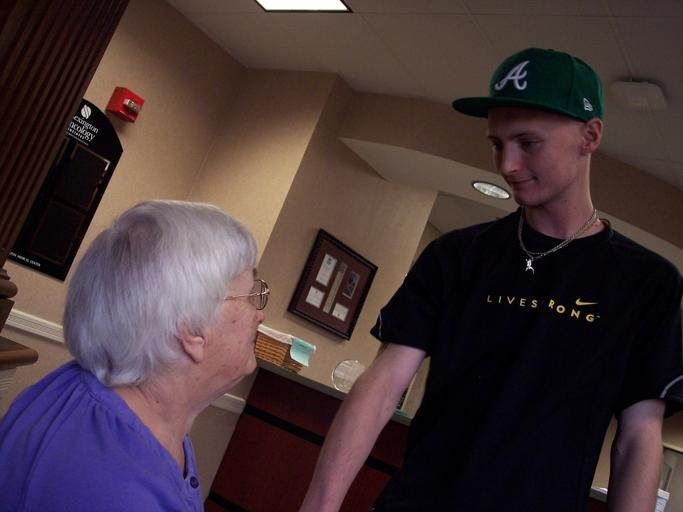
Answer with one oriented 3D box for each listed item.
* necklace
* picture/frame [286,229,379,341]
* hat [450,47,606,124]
[{"bbox_3d":[0.531,-0.040,1.209,0.144,0.205,0.048,24,0,42],"label":"necklace"},{"bbox_3d":[-0.066,0.266,3.874,0.721,0.684,0.046,23,-1,44],"label":"picture/frame"},{"bbox_3d":[0.476,-0.369,1.218,0.282,0.171,0.220,11,2,-1],"label":"hat"}]
